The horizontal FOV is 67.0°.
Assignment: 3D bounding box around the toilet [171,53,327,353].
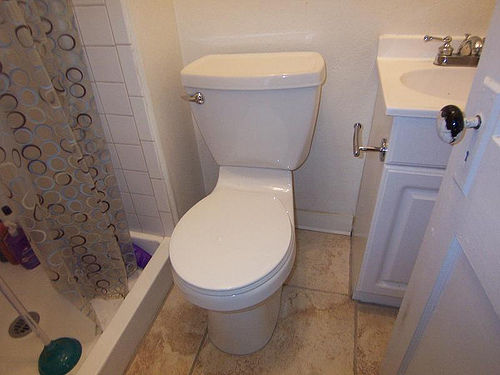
[{"bbox_3d":[-0.023,0.091,1.479,0.512,0.970,0.836,3,32,11],"label":"toilet"}]
